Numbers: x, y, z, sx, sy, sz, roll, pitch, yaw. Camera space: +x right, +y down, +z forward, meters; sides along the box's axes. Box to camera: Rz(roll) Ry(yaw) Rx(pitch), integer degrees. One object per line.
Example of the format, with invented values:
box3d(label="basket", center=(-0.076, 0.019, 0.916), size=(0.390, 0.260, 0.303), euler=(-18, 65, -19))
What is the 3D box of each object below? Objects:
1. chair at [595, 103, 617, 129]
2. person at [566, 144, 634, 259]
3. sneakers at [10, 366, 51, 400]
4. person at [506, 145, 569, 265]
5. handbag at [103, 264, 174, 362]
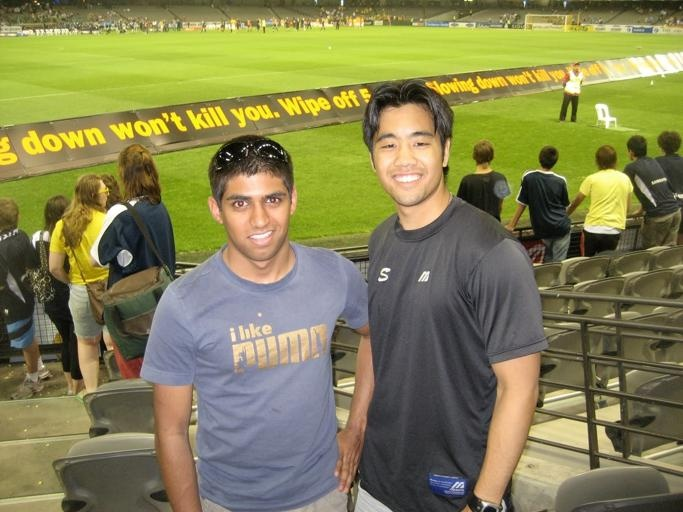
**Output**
box3d(label="chair", center=(9.505, -5.006, 19.341), size=(0.662, 0.888, 1.376), euler=(1, 12, 27))
box3d(label="person", center=(3.821, -0.781, 7.961), size=(0.774, 1.657, 0.428), euler=(1, 13, 27))
box3d(label="sneakers", center=(-3.497, 1.440, 6.042), size=(0.148, 0.174, 0.370), euler=(10, 42, 36))
box3d(label="person", center=(3.085, -0.564, 8.408), size=(0.931, 2.317, 0.830), euler=(4, 25, 27))
box3d(label="handbag", center=(-1.517, 0.423, 4.049), size=(0.563, 0.589, 0.376), euler=(-30, 37, -35))
